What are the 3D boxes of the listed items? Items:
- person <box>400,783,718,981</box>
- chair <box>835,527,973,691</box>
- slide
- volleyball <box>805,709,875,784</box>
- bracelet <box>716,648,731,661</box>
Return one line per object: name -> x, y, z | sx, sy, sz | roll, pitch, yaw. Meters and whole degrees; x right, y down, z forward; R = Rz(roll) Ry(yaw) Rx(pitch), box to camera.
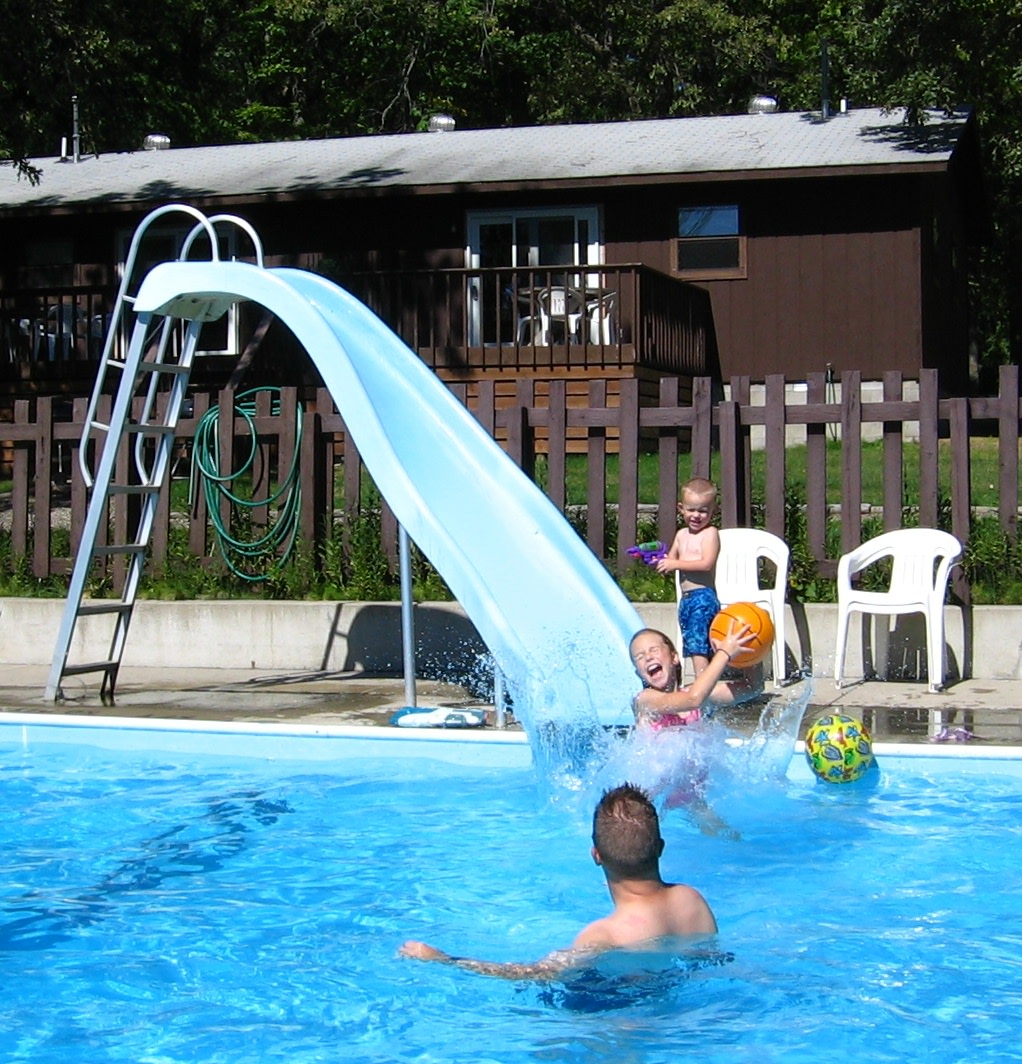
person -> 0.439, 1.593, 9.302 | 0.949, 0.840, 0.391 | -1, 0, 7
chair -> 2.541, 0.496, 13.405 | 0.834, 1.039, 0.856 | -1, 0, 11
slide -> -0.858, -0.087, 14.770 | 5.043, 3.131, 1.231 | 30, 35, 36
volleyball -> 1.827, 1.184, 11.281 | 0.389, 0.374, 0.234 | -1, 0, 9
bracelet -> 1.174, 0.662, 11.256 | 0.059, 0.062, 0.068 | 3, 3, 19
